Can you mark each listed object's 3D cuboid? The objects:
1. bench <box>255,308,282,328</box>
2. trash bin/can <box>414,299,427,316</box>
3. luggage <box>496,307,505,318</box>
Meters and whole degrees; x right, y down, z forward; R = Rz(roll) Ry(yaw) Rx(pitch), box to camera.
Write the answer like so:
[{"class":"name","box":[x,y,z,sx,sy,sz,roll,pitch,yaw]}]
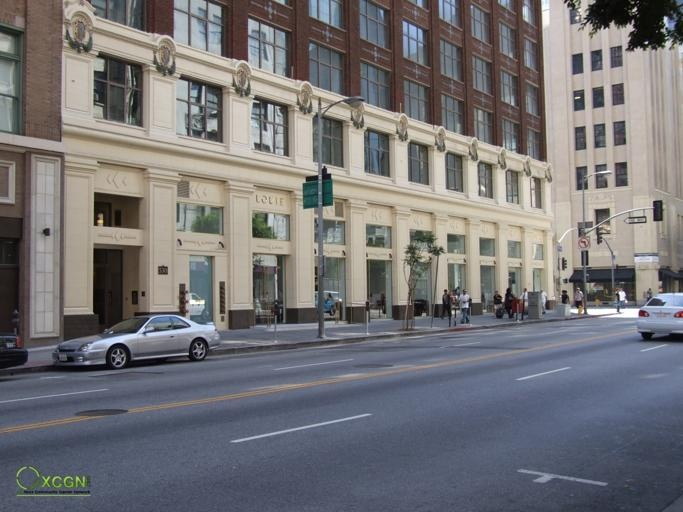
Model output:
[{"class":"bench","box":[-3.872,3.123,36.861,0.906,0.973,1.560,0,-1,19]},{"class":"trash bin/can","box":[5.262,3.427,46.679,0.830,1.273,1.012,0,1,-5]},{"class":"luggage","box":[10.247,3.686,45.863,0.604,0.749,0.646,-1,1,30]}]
